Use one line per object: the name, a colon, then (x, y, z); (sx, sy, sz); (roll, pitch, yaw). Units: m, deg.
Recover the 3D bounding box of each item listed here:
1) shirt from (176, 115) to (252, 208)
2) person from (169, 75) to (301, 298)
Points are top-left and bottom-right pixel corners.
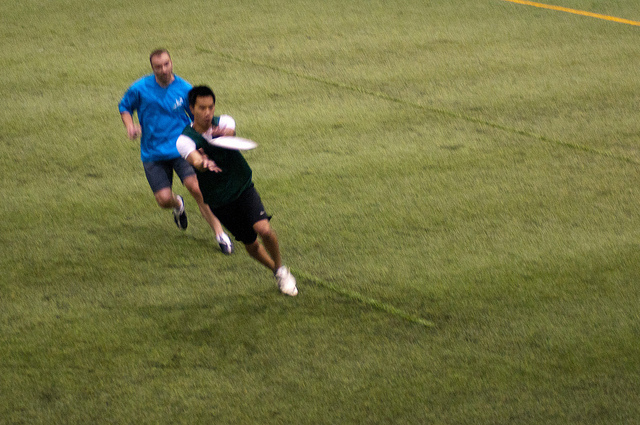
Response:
shirt: (-1.071, -0.499, 7.967); (0.643, 0.880, 0.502); (-35, 20, -18)
person: (-0.716, -0.262, 8.208); (0.935, 2.261, 1.256); (6, 27, 22)
